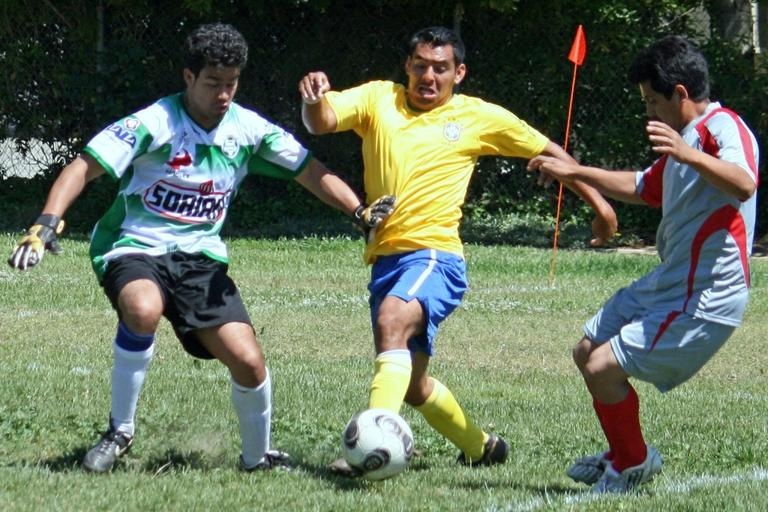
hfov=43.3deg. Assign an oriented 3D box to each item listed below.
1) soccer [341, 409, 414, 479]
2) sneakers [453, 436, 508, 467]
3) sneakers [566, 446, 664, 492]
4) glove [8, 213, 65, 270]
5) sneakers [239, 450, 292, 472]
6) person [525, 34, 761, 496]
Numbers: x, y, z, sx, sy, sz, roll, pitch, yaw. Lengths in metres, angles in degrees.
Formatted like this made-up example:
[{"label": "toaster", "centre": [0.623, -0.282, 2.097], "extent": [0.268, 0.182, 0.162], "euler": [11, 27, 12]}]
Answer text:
[{"label": "soccer", "centre": [-0.065, 1.099, 6.018], "extent": [0.418, 0.419, 0.425], "euler": [-6, 20, -25]}, {"label": "sneakers", "centre": [0.686, 1.368, 6.726], "extent": [0.403, 0.190, 0.147], "euler": [3, -2, -29]}, {"label": "sneakers", "centre": [1.489, 1.386, 6.177], "extent": [0.502, 0.219, 0.290], "euler": [-12, 35, 0]}, {"label": "glove", "centre": [-2.101, -0.079, 5.889], "extent": [0.240, 0.418, 0.162], "euler": [24, -26, 4]}, {"label": "sneakers", "centre": [-0.784, 1.333, 6.406], "extent": [0.298, 0.140, 0.143], "euler": [-8, 9, -9]}, {"label": "person", "centre": [1.750, 0.087, 6.061], "extent": [1.077, 2.940, 0.611], "euler": [4, 7, 11]}]
